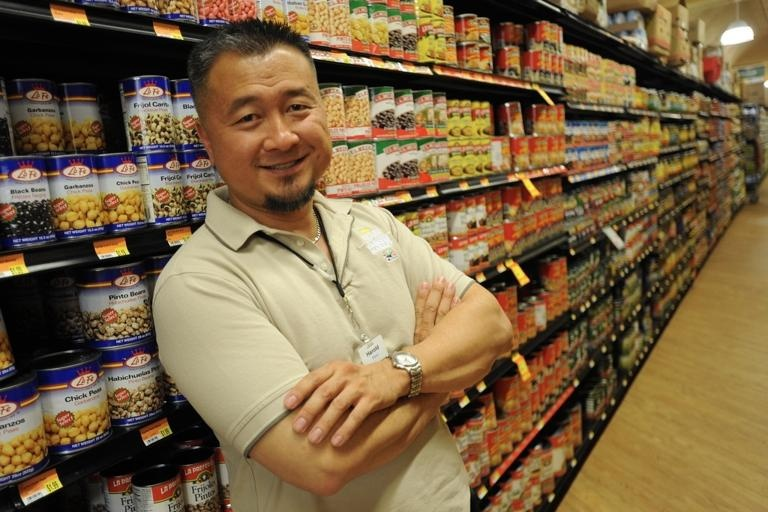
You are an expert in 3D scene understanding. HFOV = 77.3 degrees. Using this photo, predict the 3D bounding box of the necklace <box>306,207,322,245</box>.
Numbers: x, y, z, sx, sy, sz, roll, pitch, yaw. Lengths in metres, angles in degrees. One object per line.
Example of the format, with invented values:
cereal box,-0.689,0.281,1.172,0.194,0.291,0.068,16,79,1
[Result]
necklace,-0.233,-0.101,1.718,0.028,0.102,0.074,-14,-12,6
